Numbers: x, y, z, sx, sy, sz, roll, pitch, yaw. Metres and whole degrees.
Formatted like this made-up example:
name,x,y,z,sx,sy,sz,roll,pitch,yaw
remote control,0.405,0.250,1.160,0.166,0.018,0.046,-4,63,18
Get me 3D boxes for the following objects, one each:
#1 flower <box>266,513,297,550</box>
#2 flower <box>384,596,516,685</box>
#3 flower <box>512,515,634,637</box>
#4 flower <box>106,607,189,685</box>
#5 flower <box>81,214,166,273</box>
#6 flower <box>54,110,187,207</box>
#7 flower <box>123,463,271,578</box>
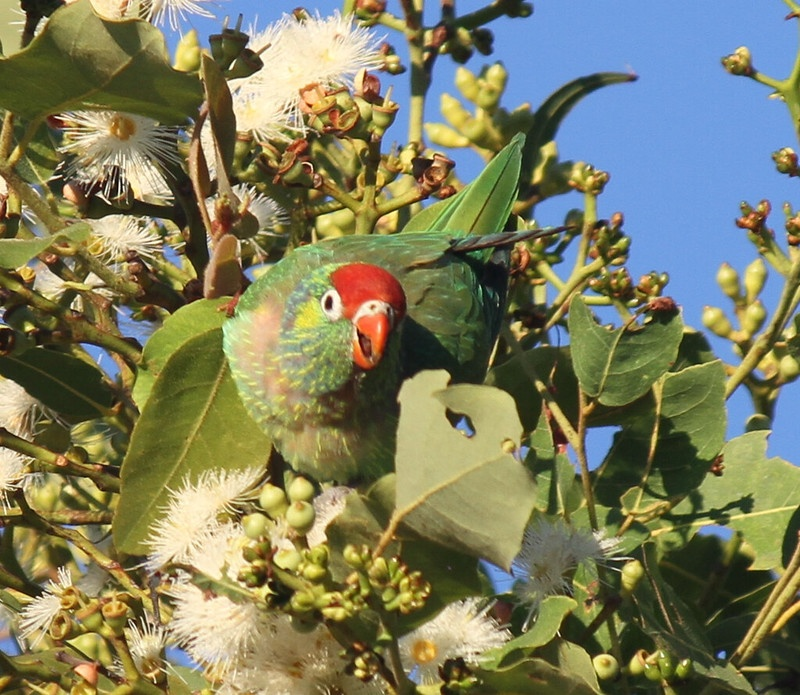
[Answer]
name,x,y,z,sx,sy,sz,roll,pitch,yaw
flower,-0.220,0.345,3.659,0.060,0.063,0.067,27,-5,3
flower,0.094,0.559,3.791,0.163,0.161,0.097,-9,-60,26
flower,0.321,0.438,3.933,0.151,0.201,0.218,44,-6,-18
flower,-0.500,0.587,3.883,0.127,0.102,0.128,58,0,0
flower,-0.624,-0.242,4.460,0.122,0.127,0.077,15,-41,0
flower,-0.598,-0.420,4.258,0.209,0.216,0.098,32,20,-25
flower,-0.389,0.332,3.900,0.180,0.237,0.310,28,-5,-7
